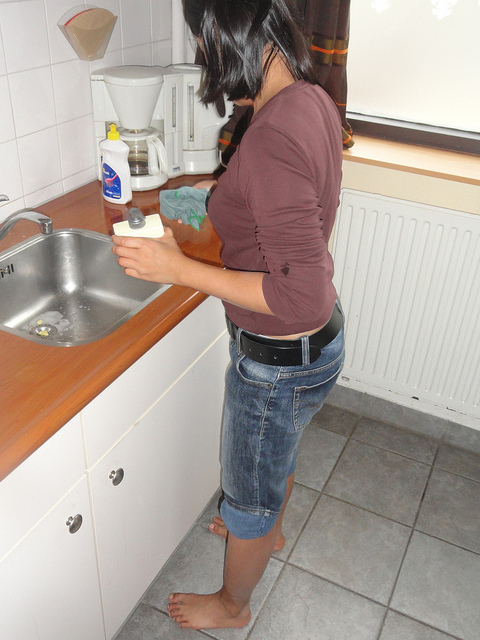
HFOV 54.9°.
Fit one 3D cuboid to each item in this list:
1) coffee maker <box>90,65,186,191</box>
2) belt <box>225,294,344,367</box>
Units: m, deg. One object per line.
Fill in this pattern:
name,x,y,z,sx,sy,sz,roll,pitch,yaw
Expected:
coffee maker,-0.331,-0.626,1.569,0.280,0.442,0.272,-7,38,-16
belt,0.105,0.024,0.915,0.247,0.087,0.160,-1,27,-8
